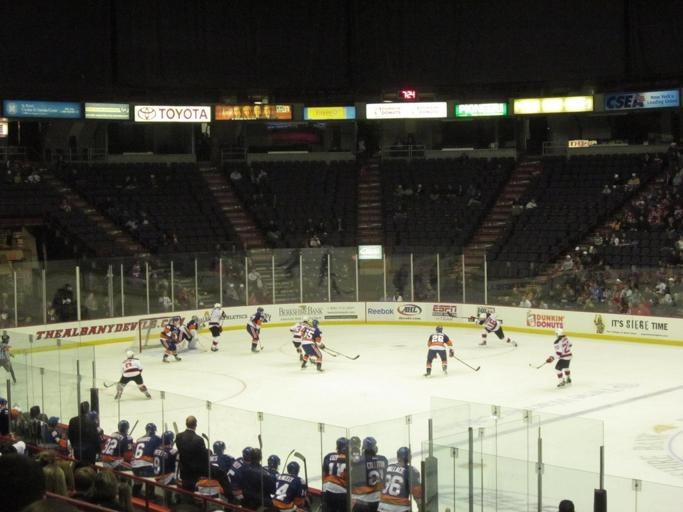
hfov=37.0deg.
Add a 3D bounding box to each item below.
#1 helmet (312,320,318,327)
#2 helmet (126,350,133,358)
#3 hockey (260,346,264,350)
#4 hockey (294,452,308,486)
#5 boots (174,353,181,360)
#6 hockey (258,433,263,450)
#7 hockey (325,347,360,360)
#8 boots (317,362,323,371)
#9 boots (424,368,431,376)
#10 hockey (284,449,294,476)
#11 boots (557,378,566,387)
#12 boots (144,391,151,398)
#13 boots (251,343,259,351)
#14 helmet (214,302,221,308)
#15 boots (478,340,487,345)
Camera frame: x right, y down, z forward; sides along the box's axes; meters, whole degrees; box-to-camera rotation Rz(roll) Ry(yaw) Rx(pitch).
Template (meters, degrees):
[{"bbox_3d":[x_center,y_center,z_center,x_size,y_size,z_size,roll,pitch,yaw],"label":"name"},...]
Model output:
[{"bbox_3d":[-0.671,1.733,26.817,0.129,0.166,0.168,-2,-10,2],"label":"helmet"},{"bbox_3d":[-4.979,2.283,24.055,0.201,0.183,0.196,-1,2,-27],"label":"helmet"},{"bbox_3d":[-2.308,2.640,29.743,0.090,0.119,0.101,-11,-7,-1],"label":"hockey"},{"bbox_3d":[-0.688,3.773,18.340,0.137,0.464,0.455,1,4,-37],"label":"hockey"},{"bbox_3d":[-4.578,2.784,28.504,0.232,0.213,0.109,-2,8,1],"label":"boots"},{"bbox_3d":[-1.481,3.348,18.635,0.066,0.242,0.130,-4,9,-34],"label":"hockey"},{"bbox_3d":[-0.004,2.772,28.958,1.302,0.201,0.372,6,3,-31],"label":"hockey"},{"bbox_3d":[-0.566,2.886,27.159,0.182,0.246,0.408,0,7,-3],"label":"boots"},{"bbox_3d":[2.281,2.951,26.342,0.122,0.213,0.218,-6,12,-31],"label":"boots"},{"bbox_3d":[-0.943,3.652,18.374,0.184,0.385,0.245,3,7,15],"label":"hockey"},{"bbox_3d":[5.482,3.101,25.255,0.106,0.185,0.272,-3,4,-38],"label":"boots"},{"bbox_3d":[-3.830,2.721,20.159,0.100,0.083,0.277,-6,5,-20],"label":"boots"},{"bbox_3d":[-2.486,2.584,29.488,0.294,0.305,0.164,-4,13,-18],"label":"boots"},{"bbox_3d":[-3.603,1.413,29.552,0.216,0.192,0.162,-5,5,-1],"label":"helmet"},{"bbox_3d":[4.184,2.510,29.994,0.280,0.195,0.097,2,5,32],"label":"boots"}]
